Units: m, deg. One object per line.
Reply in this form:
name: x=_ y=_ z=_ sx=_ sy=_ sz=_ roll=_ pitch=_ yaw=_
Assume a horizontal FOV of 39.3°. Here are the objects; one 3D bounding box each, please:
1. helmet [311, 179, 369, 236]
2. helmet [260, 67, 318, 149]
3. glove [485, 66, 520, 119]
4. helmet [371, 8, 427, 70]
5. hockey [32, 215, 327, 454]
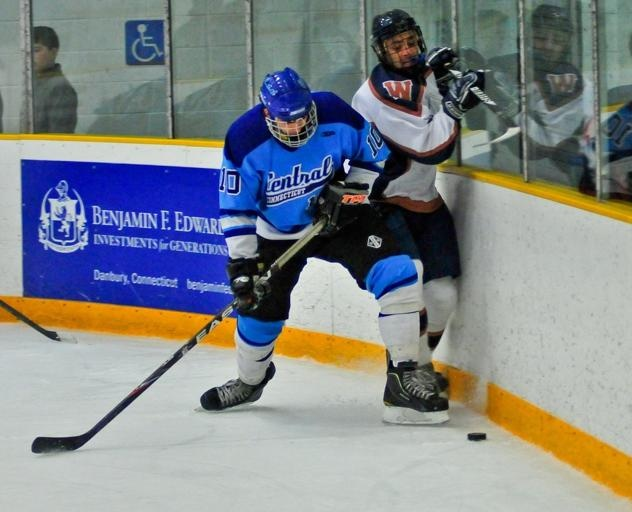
helmet: x=0.117 y=-0.212 z=3.932 sx=0.241 sy=0.238 sz=0.164 roll=-2 pitch=9 yaw=-1
helmet: x=-0.103 y=-0.629 z=3.768 sx=0.248 sy=0.338 sz=0.198 roll=-3 pitch=9 yaw=-9
glove: x=0.874 y=-0.743 z=4.050 sx=0.154 sy=0.229 sz=0.087 roll=4 pitch=1 yaw=-29
helmet: x=0.332 y=-0.976 z=4.056 sx=0.239 sy=0.269 sz=0.274 roll=-25 pitch=20 yaw=-7
hockey: x=-0.657 y=0.421 z=4.621 sx=1.556 sy=0.174 sz=0.160 roll=-37 pitch=49 yaw=-1
